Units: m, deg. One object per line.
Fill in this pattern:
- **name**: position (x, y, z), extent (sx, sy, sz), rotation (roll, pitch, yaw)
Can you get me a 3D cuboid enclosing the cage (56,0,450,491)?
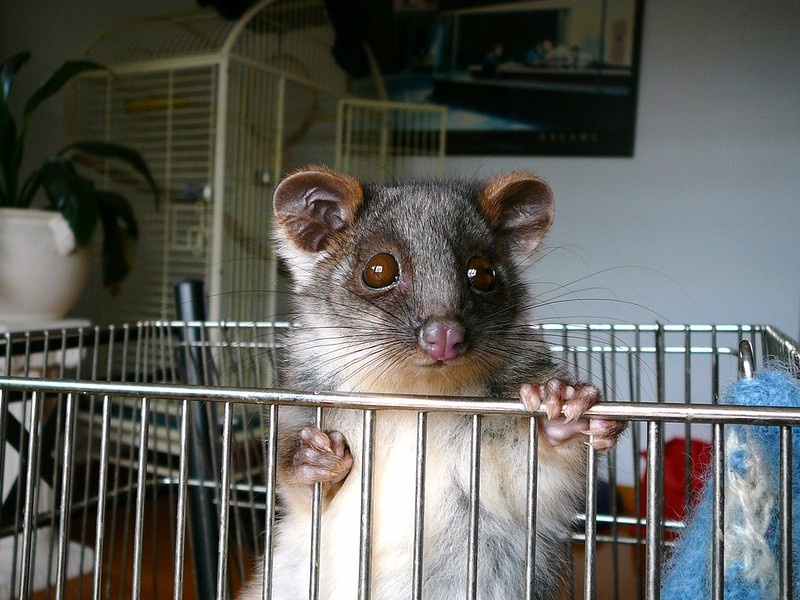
- **cage**: position (-0.666, -0.536, 7.086), extent (2.221, 2.383, 4.654), rotation (1, 90, 27)
